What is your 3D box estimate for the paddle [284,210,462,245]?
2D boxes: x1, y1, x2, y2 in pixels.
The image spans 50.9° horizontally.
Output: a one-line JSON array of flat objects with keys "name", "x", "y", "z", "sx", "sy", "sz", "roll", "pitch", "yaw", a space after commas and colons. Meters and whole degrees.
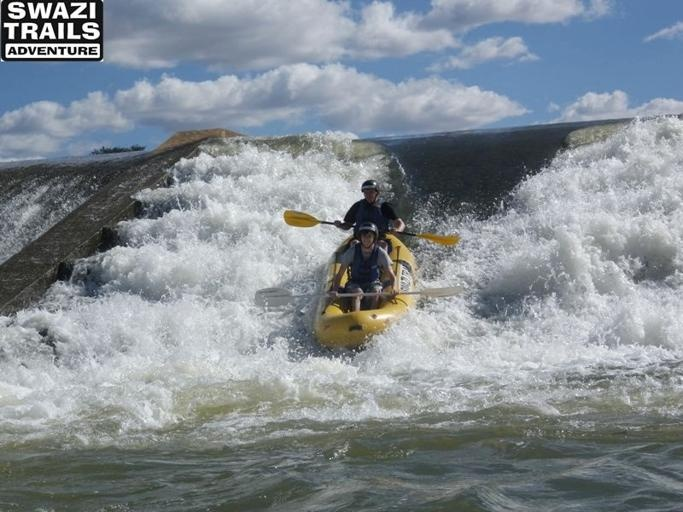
[{"name": "paddle", "x": 0.481, "y": -0.452, "z": 11.993, "sx": 2.971, "sy": 0.294, "sz": 0.377, "roll": 5, "pitch": 37, "yaw": 12}]

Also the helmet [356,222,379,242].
[{"name": "helmet", "x": 0.340, "y": -0.352, "z": 10.167, "sx": 0.253, "sy": 0.229, "sz": 0.313, "roll": 1, "pitch": 3, "yaw": 3}]

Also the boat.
[{"name": "boat", "x": 0.284, "y": 0.478, "z": 10.549, "sx": 1.619, "sy": 1.131, "sz": 2.528, "roll": -1, "pitch": 13, "yaw": 7}]

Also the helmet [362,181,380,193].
[{"name": "helmet", "x": 0.450, "y": -1.083, "z": 11.333, "sx": 0.279, "sy": 0.229, "sz": 0.310, "roll": 1, "pitch": 15, "yaw": 9}]
